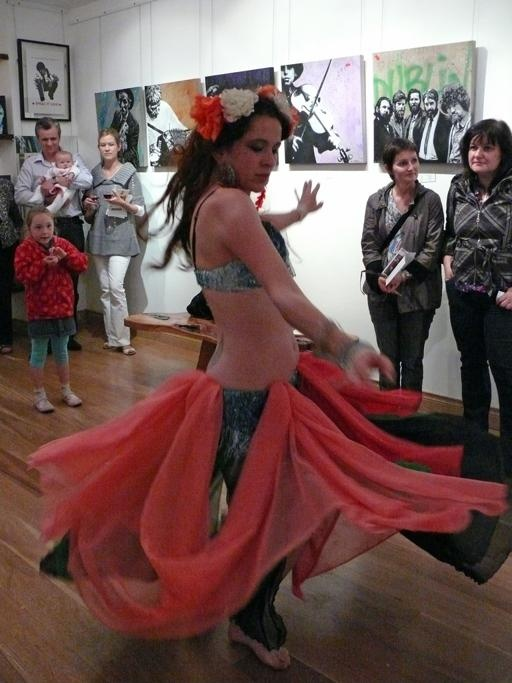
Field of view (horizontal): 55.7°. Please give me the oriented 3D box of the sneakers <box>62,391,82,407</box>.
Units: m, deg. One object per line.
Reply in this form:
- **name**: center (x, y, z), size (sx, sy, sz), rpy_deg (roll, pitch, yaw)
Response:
- **sneakers**: center (-1.357, 0.415, 3.562), size (0.083, 0.061, 0.158), rpy_deg (-19, 28, -33)

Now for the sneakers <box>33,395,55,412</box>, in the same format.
- **sneakers**: center (-1.537, 0.437, 3.477), size (0.081, 0.086, 0.193), rpy_deg (-8, 13, -38)

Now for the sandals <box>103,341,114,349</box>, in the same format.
- **sandals**: center (-1.537, 0.041, 4.980), size (0.063, 0.049, 0.107), rpy_deg (-1, -3, -30)

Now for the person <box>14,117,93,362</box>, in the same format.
- **person**: center (-2.105, -1.124, 4.981), size (0.716, 2.176, 0.673), rpy_deg (2, 12, -6)

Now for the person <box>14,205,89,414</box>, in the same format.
- **person**: center (-1.454, -0.221, 3.466), size (0.469, 1.372, 0.501), rpy_deg (2, 5, 37)
